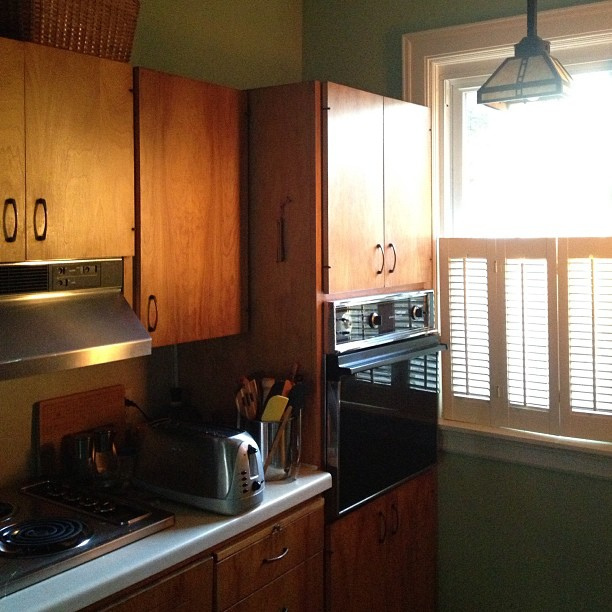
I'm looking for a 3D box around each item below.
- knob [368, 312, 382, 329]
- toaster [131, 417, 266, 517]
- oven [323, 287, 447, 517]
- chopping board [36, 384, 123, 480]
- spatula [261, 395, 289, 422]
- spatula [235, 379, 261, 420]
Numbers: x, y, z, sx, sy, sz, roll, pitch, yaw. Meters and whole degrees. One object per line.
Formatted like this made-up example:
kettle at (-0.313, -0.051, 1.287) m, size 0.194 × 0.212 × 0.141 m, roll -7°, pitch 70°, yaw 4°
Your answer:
knob at (0.237, 0.048, 2.047) m, size 0.014 × 0.056 × 0.082 m, roll 4°, pitch 5°, yaw 33°
toaster at (-0.292, 0.434, 1.702) m, size 0.335 × 0.211 × 0.180 m, roll -1°, pitch -2°, yaw 31°
oven at (0.240, 0.309, 2.213) m, size 0.596 × 0.709 × 0.315 m, roll -4°, pitch 4°, yaw -42°
chopping board at (-0.714, 0.386, 1.921) m, size 0.033 × 0.230 × 0.295 m, roll 4°, pitch 5°, yaw 37°
spatula at (-0.089, 0.307, 1.811) m, size 0.040 × 0.084 × 0.009 m, roll 19°, pitch 8°, yaw 5°
spatula at (-0.170, 0.284, 1.922) m, size 0.066 × 0.108 × 0.163 m, roll 2°, pitch 5°, yaw 11°
